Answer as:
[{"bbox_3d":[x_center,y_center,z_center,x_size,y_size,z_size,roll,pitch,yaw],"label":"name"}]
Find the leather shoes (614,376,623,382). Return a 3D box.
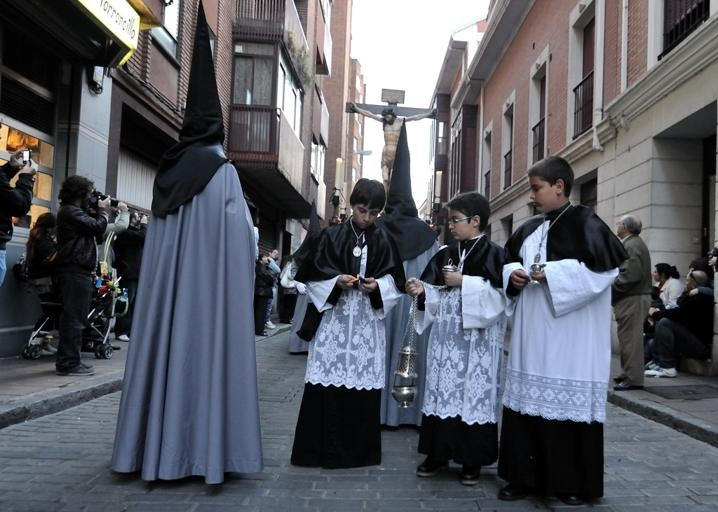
[{"bbox_3d":[3.475,1.656,8.857,0.069,0.084,0.203,2,-2,11],"label":"leather shoes"}]

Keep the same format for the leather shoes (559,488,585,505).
[{"bbox_3d":[1.741,1.989,5.403,0.139,0.088,0.050,2,-2,24],"label":"leather shoes"}]

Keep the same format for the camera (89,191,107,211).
[{"bbox_3d":[-3.391,-0.725,8.542,0.238,0.224,0.089,6,4,-2],"label":"camera"}]

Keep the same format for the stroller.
[{"bbox_3d":[-4.167,0.891,9.616,1.352,1.384,1.197,0,1,-41],"label":"stroller"}]

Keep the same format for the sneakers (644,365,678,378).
[{"bbox_3d":[4.445,1.688,9.564,0.542,0.239,0.216,4,-8,4],"label":"sneakers"}]

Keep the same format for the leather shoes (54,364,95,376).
[{"bbox_3d":[-3.501,1.360,8.074,0.427,0.178,0.150,-1,3,-23],"label":"leather shoes"}]

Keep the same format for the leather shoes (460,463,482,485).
[{"bbox_3d":[0.965,1.894,5.722,0.113,0.132,0.314,0,-17,9],"label":"leather shoes"}]

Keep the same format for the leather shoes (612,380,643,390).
[{"bbox_3d":[3.481,1.702,8.628,0.406,0.157,0.142,4,-10,3],"label":"leather shoes"}]

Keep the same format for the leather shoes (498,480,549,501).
[{"bbox_3d":[1.368,1.941,5.543,0.415,0.170,0.147,-2,6,-18],"label":"leather shoes"}]

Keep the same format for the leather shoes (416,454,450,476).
[{"bbox_3d":[0.639,1.892,5.950,0.369,0.155,0.135,7,-14,-34],"label":"leather shoes"}]
